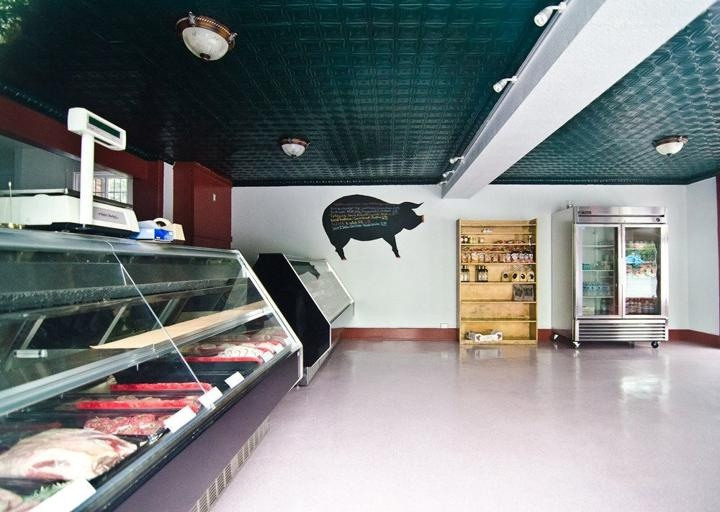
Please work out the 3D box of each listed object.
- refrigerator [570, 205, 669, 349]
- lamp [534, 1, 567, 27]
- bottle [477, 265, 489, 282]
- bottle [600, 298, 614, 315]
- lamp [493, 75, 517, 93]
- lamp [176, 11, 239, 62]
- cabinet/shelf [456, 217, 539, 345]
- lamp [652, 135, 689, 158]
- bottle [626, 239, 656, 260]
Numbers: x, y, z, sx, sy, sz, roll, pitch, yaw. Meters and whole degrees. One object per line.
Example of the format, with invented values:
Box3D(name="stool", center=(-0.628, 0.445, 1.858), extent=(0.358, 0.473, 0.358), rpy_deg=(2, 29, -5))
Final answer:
Box3D(name="refrigerator", center=(3.947, 0.323, 7.273), extent=(1.474, 2.086, 0.736), rpy_deg=(2, 8, 10))
Box3D(name="lamp", center=(1.405, -1.776, 3.508), extent=(0.235, 0.073, 0.117), rpy_deg=(-35, -36, 15))
Box3D(name="bottle", center=(1.993, 0.291, 7.745), extent=(0.172, 0.241, 0.212), rpy_deg=(2, 8, 10))
Box3D(name="bottle", center=(3.847, 0.799, 7.447), extent=(0.235, 0.211, 0.440), rpy_deg=(-1, 3, 35))
Box3D(name="lamp", center=(1.311, -1.546, 4.301), extent=(0.185, 0.094, 0.113), rpy_deg=(-31, 27, 16))
Box3D(name="lamp", center=(-1.264, -1.679, 3.884), extent=(0.473, 0.208, 0.463), rpy_deg=(4, -3, -18))
Box3D(name="cabinet/shelf", center=(2.185, 0.389, 7.646), extent=(1.267, 1.922, 0.669), rpy_deg=(2, 8, 8))
Box3D(name="lamp", center=(3.839, -1.327, 5.845), extent=(0.294, 0.120, 0.268), rpy_deg=(1, -1, -5))
Box3D(name="bottle", center=(4.411, -0.088, 7.484), extent=(0.361, 0.312, 0.148), rpy_deg=(11, 9, 18))
